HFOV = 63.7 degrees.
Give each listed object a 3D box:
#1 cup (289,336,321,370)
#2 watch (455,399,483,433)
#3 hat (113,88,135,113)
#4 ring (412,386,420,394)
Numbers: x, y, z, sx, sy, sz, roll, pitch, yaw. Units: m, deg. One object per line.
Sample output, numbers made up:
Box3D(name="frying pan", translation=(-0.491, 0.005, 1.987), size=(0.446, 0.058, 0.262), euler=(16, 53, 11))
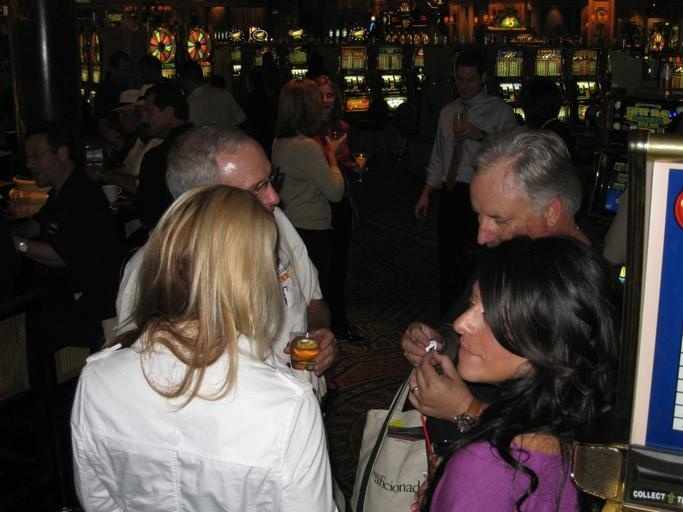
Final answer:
Box3D(name="cup", translation=(-0.127, 0.337, 1.970), size=(0.117, 0.100, 0.093), euler=(-3, 18, -28))
Box3D(name="watch", translation=(0.350, 0.438, 1.511), size=(0.068, 0.038, 0.090), euler=(36, 9, 14))
Box3D(name="hat", translation=(-2.233, -1.624, 5.739), size=(0.216, 0.235, 0.553), euler=(-3, 12, -18))
Box3D(name="ring", translation=(0.212, 0.388, 1.587), size=(0.017, 0.017, 0.014), euler=(0, -36, 50))
